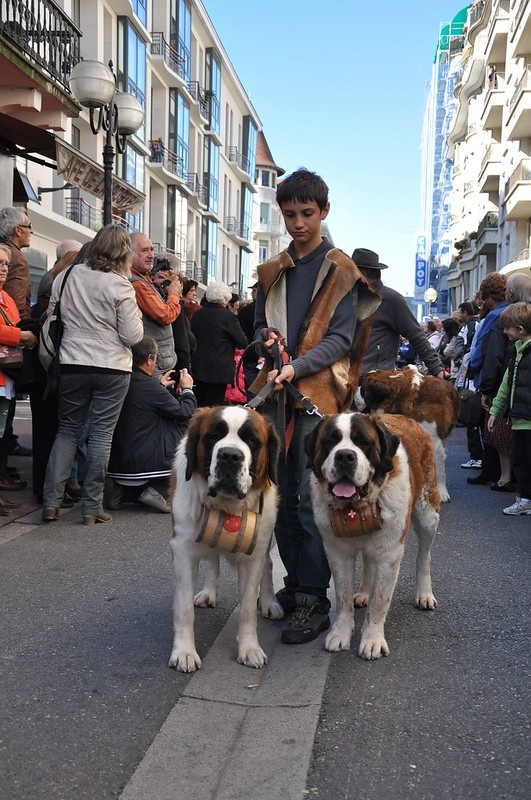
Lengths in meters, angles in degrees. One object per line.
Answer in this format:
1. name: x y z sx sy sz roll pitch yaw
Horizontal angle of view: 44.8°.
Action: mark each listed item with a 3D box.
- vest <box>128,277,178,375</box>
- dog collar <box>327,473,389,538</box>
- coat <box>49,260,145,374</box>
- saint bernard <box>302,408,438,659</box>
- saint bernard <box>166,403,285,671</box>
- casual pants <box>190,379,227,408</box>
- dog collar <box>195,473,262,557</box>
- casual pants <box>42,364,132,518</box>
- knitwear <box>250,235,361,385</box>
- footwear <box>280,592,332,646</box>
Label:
1. vest: -1.252 -0.917 7.492 0.648 1.132 0.800 -4 17 -5
2. dog collar: 0.424 0.535 3.058 0.258 0.230 0.235 -9 33 12
3. coat: -1.541 -0.765 5.971 0.897 0.993 0.579 3 0 13
4. saint bernard: 0.547 0.683 3.475 0.494 1.217 1.242 1 -2 24
5. saint bernard: -0.183 0.693 3.572 0.499 1.217 1.786 1 -3 1
6. casual pants: -0.834 -0.113 9.519 0.411 0.554 0.153 1 1 -7
7. dog collar: -0.154 0.547 2.945 0.224 0.316 0.233 21 -11 -29
8. casual pants: -1.649 0.224 5.956 0.602 1.742 0.453 4 28 -21
9. knitwear: 0.262 -0.501 3.689 0.575 0.794 0.397 1 -8 30
10. footwear: 0.214 1.187 3.481 0.126 0.174 0.371 -1 -6 19
